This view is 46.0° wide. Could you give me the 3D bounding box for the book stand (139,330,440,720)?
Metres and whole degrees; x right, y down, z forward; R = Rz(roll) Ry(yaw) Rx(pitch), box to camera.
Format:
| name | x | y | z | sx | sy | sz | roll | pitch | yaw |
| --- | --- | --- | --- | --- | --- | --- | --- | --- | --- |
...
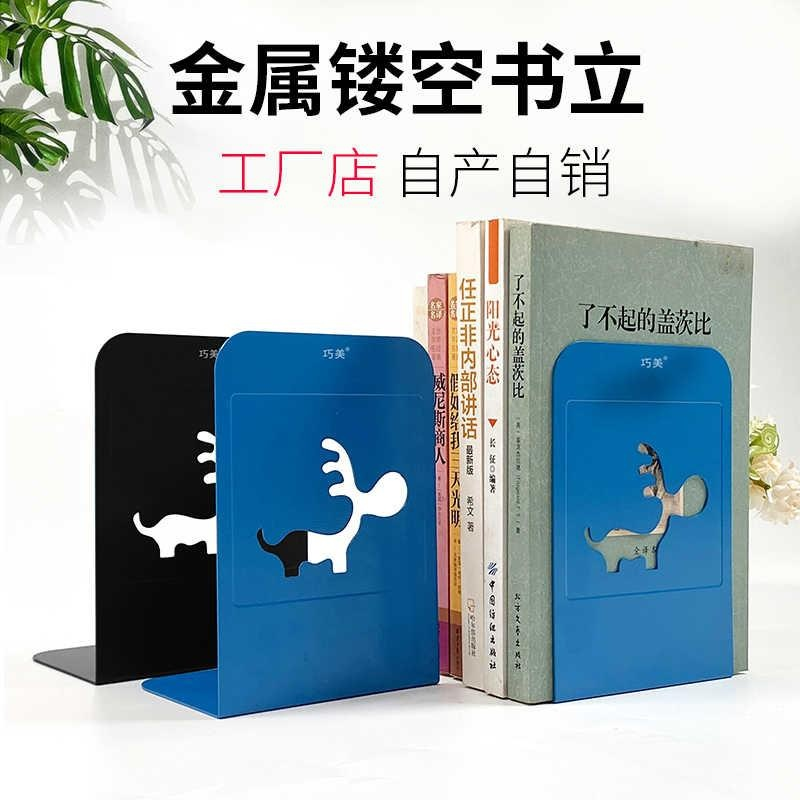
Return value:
| name | x | y | z | sx | sy | sz | roll | pitch | yaw |
| --- | --- | --- | --- | --- | --- | --- | --- | --- | --- |
| book stand | -0.130 | 0.122 | 1.009 | 0.281 | 0.353 | 0.257 | 2 | -6 | -29 |
